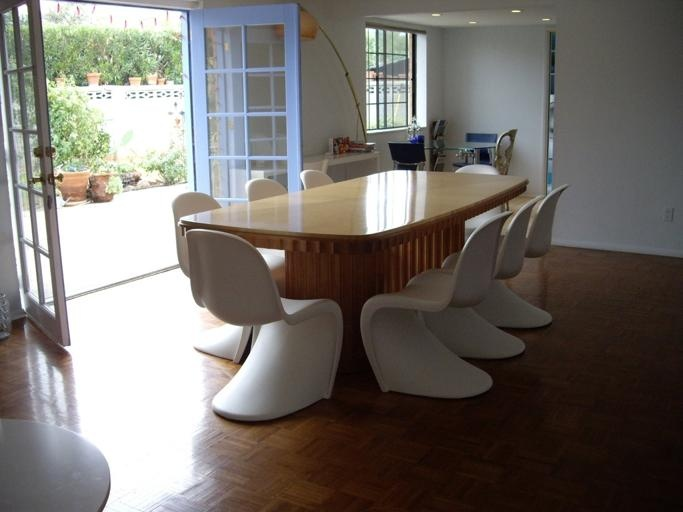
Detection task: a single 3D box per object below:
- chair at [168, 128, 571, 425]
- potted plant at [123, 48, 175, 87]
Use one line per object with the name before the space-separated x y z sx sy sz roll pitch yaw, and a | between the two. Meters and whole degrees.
chair | 0.333 0.136 3.121 2.408 1.016 1.457 -17 21 -41
potted plant | -4.430 -4.378 11.826 0.848 0.800 0.994 24 35 20
